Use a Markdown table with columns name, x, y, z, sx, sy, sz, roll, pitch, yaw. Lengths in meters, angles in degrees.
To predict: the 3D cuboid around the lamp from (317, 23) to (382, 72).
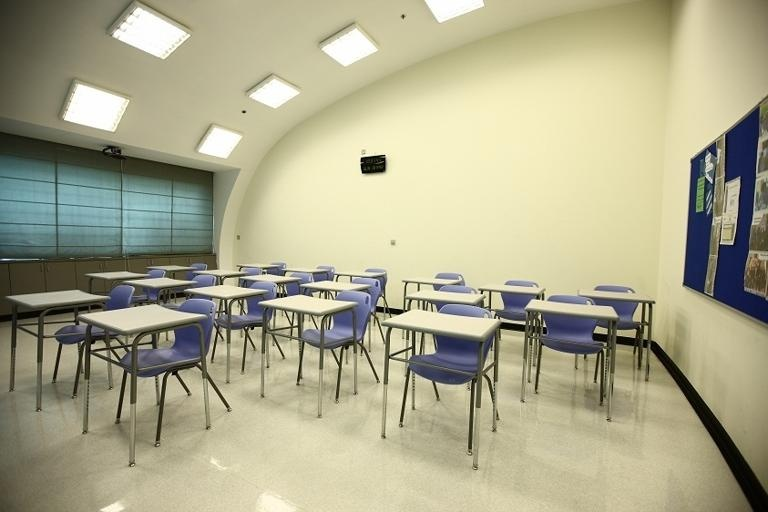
| name | x | y | z | sx | sy | sz | roll | pitch | yaw |
| --- | --- | --- | --- | --- | --- | --- | --- | --- | --- |
| lamp | -0.665 | -3.830 | 8.781 | 0.910 | 0.318 | 0.802 | 3 | 1 | 31 |

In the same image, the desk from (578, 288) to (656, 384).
| name | x | y | z | sx | sy | sz | roll | pitch | yaw |
| --- | --- | --- | --- | --- | --- | --- | --- | --- | --- |
| desk | 3.521 | 1.148 | 7.314 | 0.892 | 1.095 | 1.196 | 2 | 3 | 23 |

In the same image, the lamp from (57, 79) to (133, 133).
| name | x | y | z | sx | sy | sz | roll | pitch | yaw |
| --- | --- | --- | --- | --- | --- | --- | --- | --- | --- |
| lamp | -5.169 | -2.645 | 8.629 | 0.889 | 0.597 | 0.909 | 3 | 2 | 42 |

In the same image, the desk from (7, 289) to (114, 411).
| name | x | y | z | sx | sy | sz | roll | pitch | yaw |
| --- | --- | --- | --- | --- | --- | --- | --- | --- | --- |
| desk | -4.384 | 1.331 | 6.537 | 1.389 | 1.718 | 1.243 | 4 | 3 | 41 |

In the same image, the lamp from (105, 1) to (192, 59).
| name | x | y | z | sx | sy | sz | roll | pitch | yaw |
| --- | --- | --- | --- | --- | --- | --- | --- | --- | --- |
| lamp | -3.745 | -3.602 | 7.729 | 0.809 | 0.497 | 1.041 | 3 | 2 | 44 |

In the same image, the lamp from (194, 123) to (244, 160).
| name | x | y | z | sx | sy | sz | roll | pitch | yaw |
| --- | --- | --- | --- | --- | --- | --- | --- | --- | --- |
| lamp | -3.577 | -2.468 | 10.522 | 0.802 | 0.533 | 0.865 | 3 | 2 | 40 |

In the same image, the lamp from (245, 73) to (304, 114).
| name | x | y | z | sx | sy | sz | roll | pitch | yaw |
| --- | --- | --- | --- | --- | --- | --- | --- | --- | --- |
| lamp | -2.209 | -3.277 | 9.691 | 0.852 | 0.363 | 0.945 | 3 | 1 | 32 |
